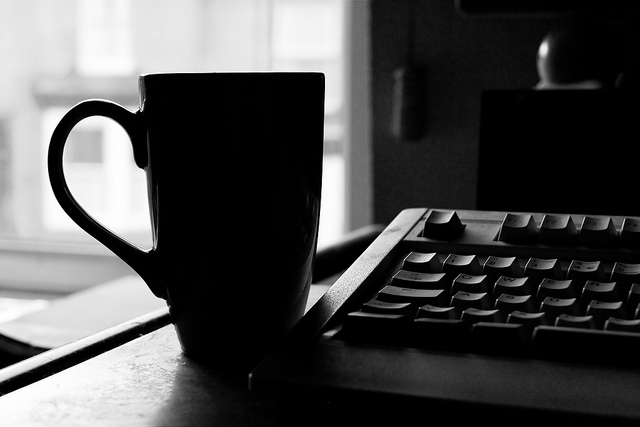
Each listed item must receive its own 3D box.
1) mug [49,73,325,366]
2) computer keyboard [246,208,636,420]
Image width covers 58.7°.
[{"bbox_3d":[-0.088,-0.002,0.374,0.165,0.158,0.105,1,18,-18],"label":"mug"},{"bbox_3d":[0.101,0.047,0.362,0.180,0.049,0.251,6,17,27],"label":"computer keyboard"}]
